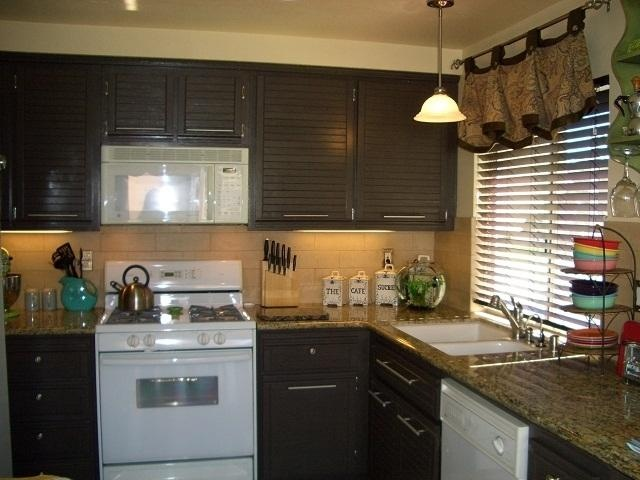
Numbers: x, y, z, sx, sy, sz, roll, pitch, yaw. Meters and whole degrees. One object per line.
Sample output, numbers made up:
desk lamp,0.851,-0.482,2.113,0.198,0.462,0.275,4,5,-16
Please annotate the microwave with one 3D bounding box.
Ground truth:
microwave,-0.940,-0.349,3.706,1.073,0.492,0.533,1,-1,10

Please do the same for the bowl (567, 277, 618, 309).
bowl,1.274,0.234,2.440,0.179,0.087,0.141,-2,5,-28

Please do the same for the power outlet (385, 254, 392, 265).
power outlet,0.528,0.148,4.057,0.054,0.068,0.087,-1,7,7

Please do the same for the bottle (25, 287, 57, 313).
bottle,-1.896,0.404,3.607,0.247,0.167,0.139,1,6,-5

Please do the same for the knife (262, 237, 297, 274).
knife,-0.292,0.115,3.850,0.253,0.243,0.205,-3,7,-5

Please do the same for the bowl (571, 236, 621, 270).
bowl,1.264,0.057,2.407,0.177,0.110,0.155,-1,3,4

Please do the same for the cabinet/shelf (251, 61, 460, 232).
cabinet/shelf,0.197,-0.612,3.856,1.491,1.081,0.483,-1,7,-17

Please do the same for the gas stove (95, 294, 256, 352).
gas stove,-0.922,0.541,3.453,0.953,0.239,0.591,-3,7,-11

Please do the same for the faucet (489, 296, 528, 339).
faucet,1.113,0.440,3.017,0.131,0.166,0.292,-4,13,-14

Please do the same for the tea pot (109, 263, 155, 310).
tea pot,-1.264,0.311,3.534,0.291,0.288,0.186,2,9,0

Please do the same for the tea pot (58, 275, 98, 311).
tea pot,-1.652,0.367,3.584,0.266,0.239,0.195,1,-4,-34
